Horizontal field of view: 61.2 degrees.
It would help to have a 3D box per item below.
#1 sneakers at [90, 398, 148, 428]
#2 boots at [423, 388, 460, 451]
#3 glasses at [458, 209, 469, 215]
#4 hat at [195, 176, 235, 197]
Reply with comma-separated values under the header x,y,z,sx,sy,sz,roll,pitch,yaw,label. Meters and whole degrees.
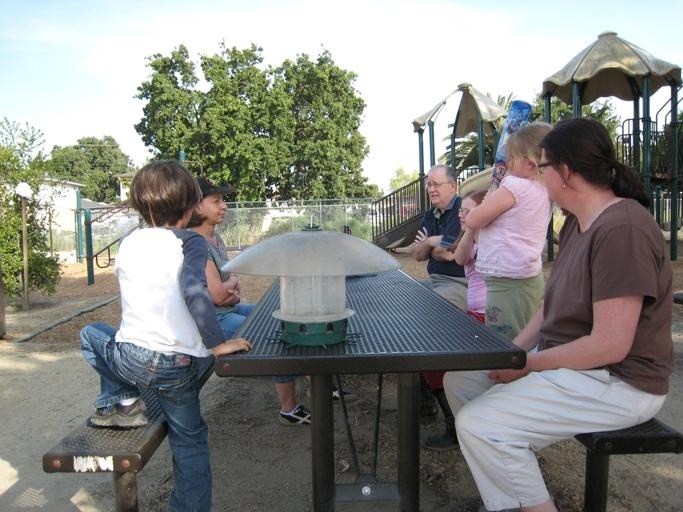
x,y,z,sx,sy,sz,roll,pitch,yaw,label
-1.141,0.814,2.966,0.215,0.099,0.157,3,-5,-13,sneakers
0.627,1.085,3.897,0.280,0.354,0.184,-21,3,-26,boots
0.902,-0.331,4.236,0.051,0.062,0.033,-2,-2,2,glasses
-0.920,-0.510,4.199,0.242,0.100,0.162,-2,11,-19,hat
